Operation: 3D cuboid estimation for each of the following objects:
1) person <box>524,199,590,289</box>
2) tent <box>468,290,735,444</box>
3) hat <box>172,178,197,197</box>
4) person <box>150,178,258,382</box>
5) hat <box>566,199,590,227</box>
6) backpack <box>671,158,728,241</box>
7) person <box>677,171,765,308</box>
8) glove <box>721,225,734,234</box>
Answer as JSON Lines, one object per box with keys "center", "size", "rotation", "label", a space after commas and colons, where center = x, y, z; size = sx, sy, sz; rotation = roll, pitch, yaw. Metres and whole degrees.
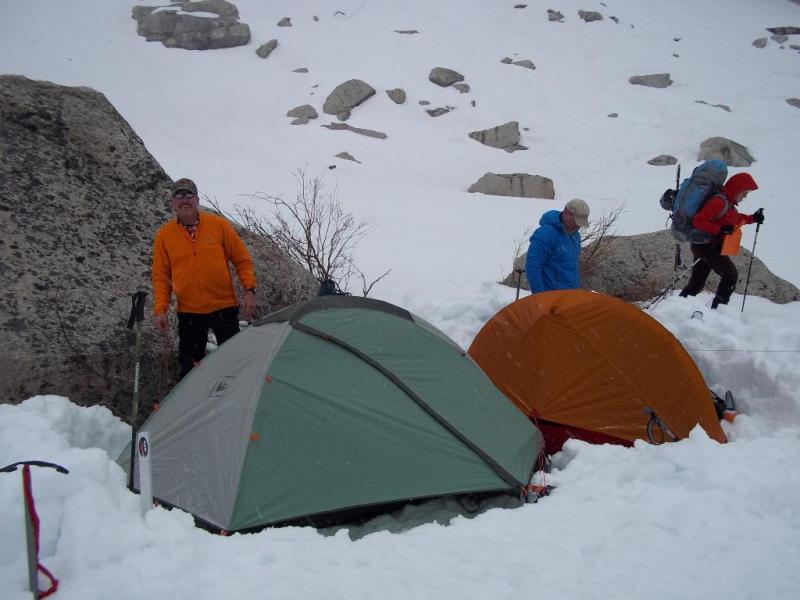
{"center": [1.973, -0.704, 10.183], "size": [0.752, 1.158, 0.494], "rotation": [2, 21, -5], "label": "person"}
{"center": [2.200, 0.774, 9.150], "size": [2.073, 0.966, 1.661], "rotation": [5, 33, 18], "label": "tent"}
{"center": [-2.407, -1.258, 9.012], "size": [0.215, 0.177, 0.324], "rotation": [-4, -11, -11], "label": "hat"}
{"center": [-2.259, -0.023, 9.447], "size": [1.109, 3.007, 0.748], "rotation": [-8, 34, -11], "label": "person"}
{"center": [2.214, -1.127, 10.065], "size": [0.248, 0.204, 0.349], "rotation": [-21, 57, -43], "label": "hat"}
{"center": [3.827, -1.358, 10.616], "size": [0.370, 1.091, 0.693], "rotation": [15, 4, -15], "label": "backpack"}
{"center": [4.181, -0.777, 10.527], "size": [0.778, 1.815, 0.882], "rotation": [12, 22, 21], "label": "person"}
{"center": [4.229, -0.908, 10.439], "size": [0.103, 0.113, 0.028], "rotation": [1, -7, 26], "label": "glove"}
